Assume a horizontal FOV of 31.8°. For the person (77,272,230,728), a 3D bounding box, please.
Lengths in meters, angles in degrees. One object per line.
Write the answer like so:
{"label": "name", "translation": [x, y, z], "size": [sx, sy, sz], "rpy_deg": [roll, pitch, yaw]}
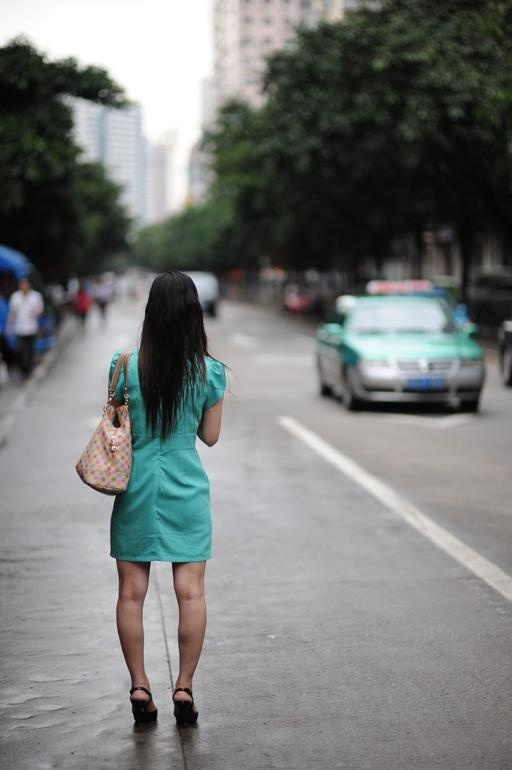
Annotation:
{"label": "person", "translation": [-0.298, 0.325, 2.624], "size": [0.424, 1.308, 0.276], "rpy_deg": [-1, 3, -6]}

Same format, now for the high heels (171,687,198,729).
{"label": "high heels", "translation": [-0.205, 0.929, 2.570], "size": [0.048, 0.128, 0.055], "rpy_deg": [-9, -17, 9]}

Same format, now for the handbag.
{"label": "handbag", "translation": [-0.409, 0.107, 2.531], "size": [0.176, 0.390, 0.148], "rpy_deg": [-2, 3, -33]}

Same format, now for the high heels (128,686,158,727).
{"label": "high heels", "translation": [-0.325, 0.927, 2.604], "size": [0.047, 0.132, 0.052], "rpy_deg": [-13, 0, 11]}
